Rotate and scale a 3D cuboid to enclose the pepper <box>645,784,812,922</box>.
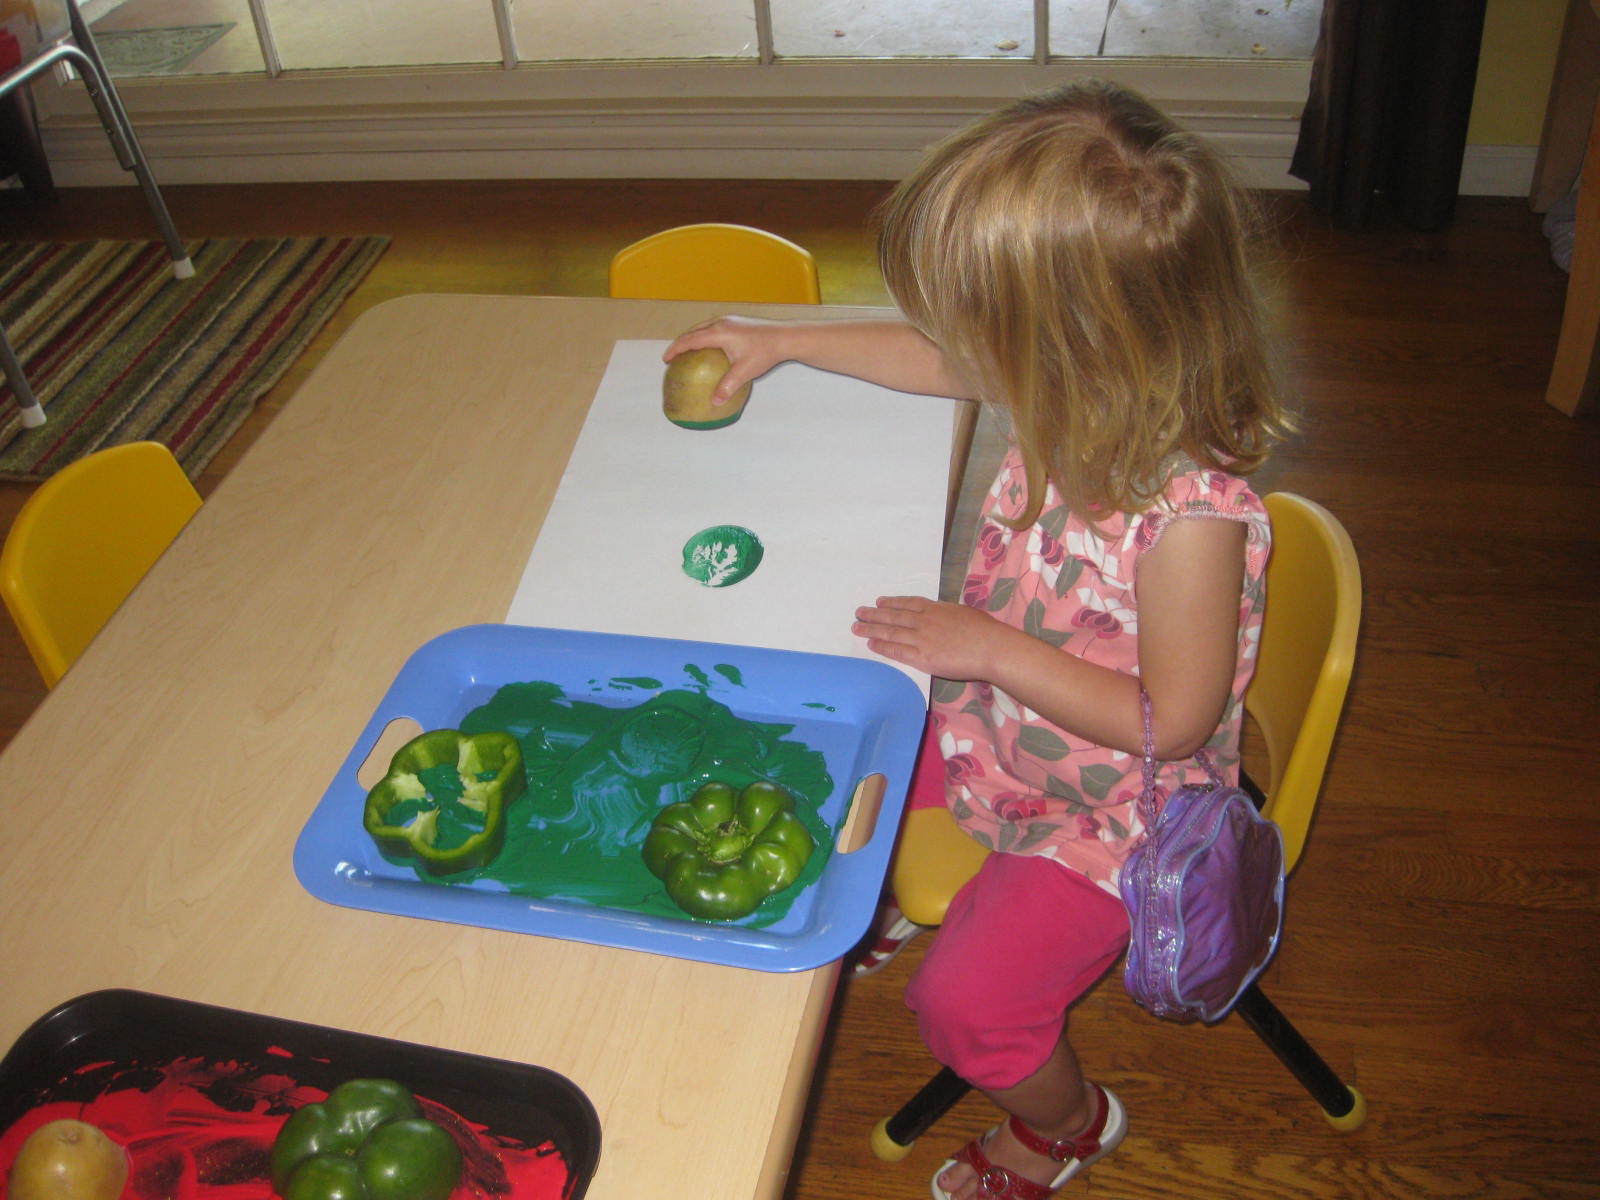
[{"bbox_3d":[-0.066,0.205,0.990,0.101,0.045,0.106,7,56,5],"label":"pepper"}]

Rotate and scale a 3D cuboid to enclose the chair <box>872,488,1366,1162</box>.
[{"bbox_3d":[0.333,0.263,1.299,0.554,0.737,0.510,1,47,4],"label":"chair"}]

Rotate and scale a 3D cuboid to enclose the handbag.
[{"bbox_3d":[0.375,0.283,1.211,0.159,0.230,0.066,14,1,-34],"label":"handbag"}]

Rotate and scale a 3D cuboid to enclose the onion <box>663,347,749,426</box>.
[{"bbox_3d":[-0.108,-0.239,1.365,0.086,0.049,0.082,-13,79,4],"label":"onion"}]

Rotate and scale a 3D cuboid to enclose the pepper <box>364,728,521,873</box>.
[{"bbox_3d":[-0.314,0.173,1.038,0.127,0.056,0.116,2,43,9],"label":"pepper"}]
